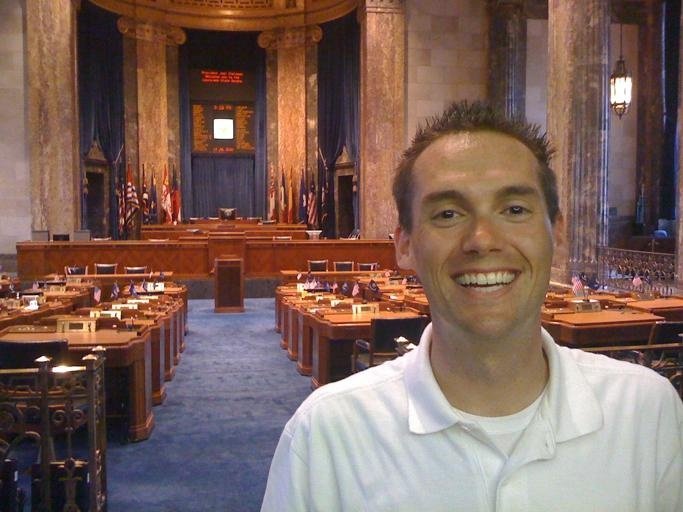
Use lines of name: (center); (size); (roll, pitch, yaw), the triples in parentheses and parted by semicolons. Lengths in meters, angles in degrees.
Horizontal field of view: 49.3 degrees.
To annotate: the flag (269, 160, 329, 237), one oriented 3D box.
flag: (-1.223, -1.725, 22.633); (2.270, 2.817, 0.321); (0, -5, 10)
